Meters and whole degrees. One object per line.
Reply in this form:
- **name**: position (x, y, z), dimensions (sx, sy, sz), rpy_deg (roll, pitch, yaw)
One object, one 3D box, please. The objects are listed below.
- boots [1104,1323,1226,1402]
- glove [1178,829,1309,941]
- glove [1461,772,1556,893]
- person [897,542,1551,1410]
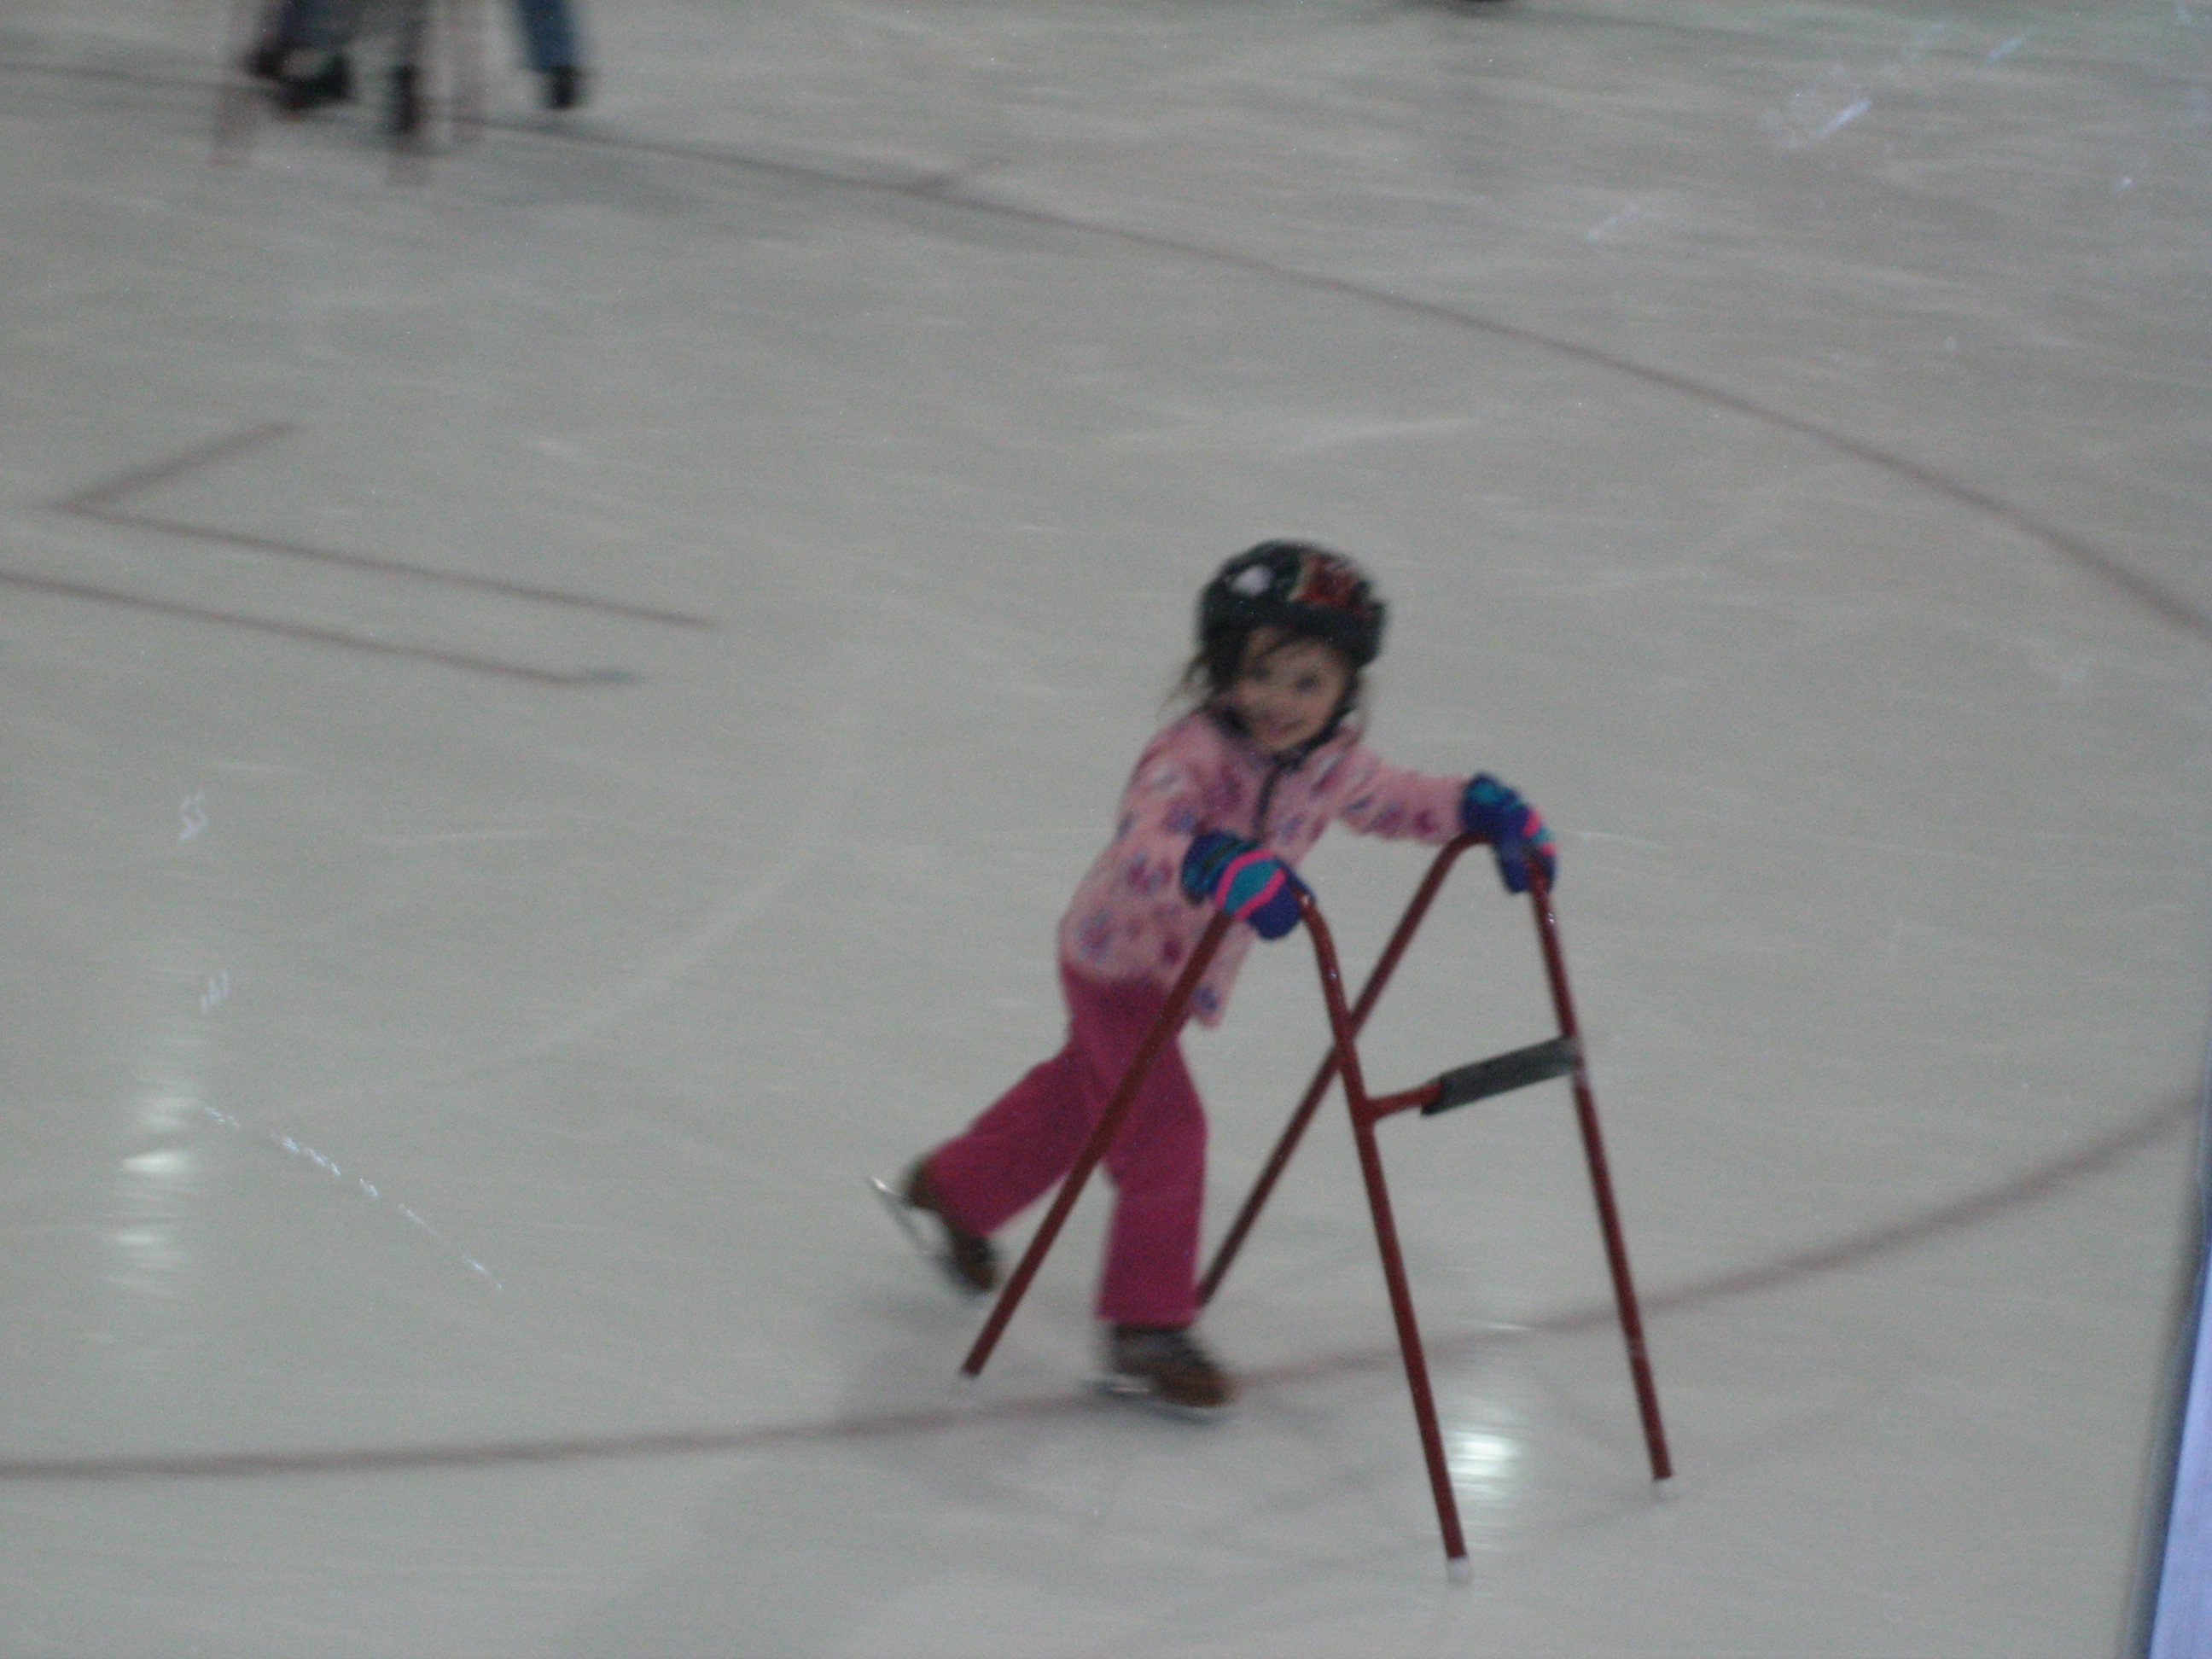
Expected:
- **boots**: position (0.059, 0.452, 3.994), dimensions (0.120, 0.058, 0.052), rpy_deg (8, 18, 5)
- **glove**: position (0.111, 0.041, 3.819), dimensions (0.104, 0.039, 0.083), rpy_deg (24, -5, 39)
- **glove**: position (0.356, 0.003, 3.987), dimensions (0.107, 0.047, 0.072), rpy_deg (46, 6, 14)
- **person**: position (0.103, 0.114, 3.958), dimensions (0.417, 0.719, 0.300), rpy_deg (-16, 34, -39)
